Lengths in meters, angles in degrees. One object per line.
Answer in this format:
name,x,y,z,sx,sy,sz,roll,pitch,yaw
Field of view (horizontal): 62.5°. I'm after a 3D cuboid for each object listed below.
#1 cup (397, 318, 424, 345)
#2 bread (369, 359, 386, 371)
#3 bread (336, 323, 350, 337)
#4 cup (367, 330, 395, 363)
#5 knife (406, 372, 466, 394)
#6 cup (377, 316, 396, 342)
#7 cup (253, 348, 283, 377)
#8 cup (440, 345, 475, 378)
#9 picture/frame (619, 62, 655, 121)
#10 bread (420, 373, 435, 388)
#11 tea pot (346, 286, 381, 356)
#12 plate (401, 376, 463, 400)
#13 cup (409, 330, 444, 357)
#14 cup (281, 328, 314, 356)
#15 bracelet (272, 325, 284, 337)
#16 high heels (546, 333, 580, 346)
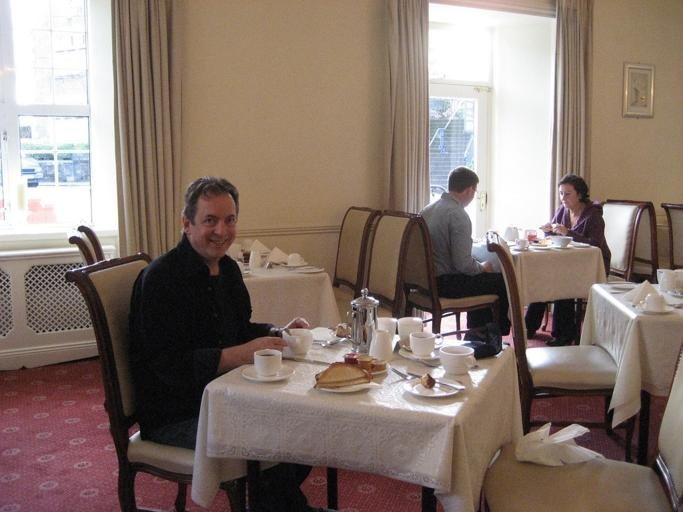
cup,0.291,0.311,2.357,0.098,0.094,0.095,-2,4,0
bread,0.132,0.408,2.095,0.042,0.018,0.037,3,9,37
bread,0.009,0.320,2.441,0.047,0.053,0.051,0,4,9
cup,0.151,0.355,2.223,0.100,0.110,0.097,0,5,0
knife,0.326,0.456,1.959,0.128,0.021,0.083,9,9,33
cup,0.186,0.305,2.322,0.070,0.079,0.085,2,6,7
cup,-0.276,0.388,2.064,0.084,0.072,0.083,0,10,0
cup,0.438,0.383,2.130,0.131,0.076,0.177,9,16,35
picture/frame,3.290,-1.864,6.302,0.587,0.820,0.059,-1,4,-26
bread,0.298,0.432,1.951,0.038,0.044,0.044,-4,-18,17
tea pot,0.084,0.277,2.270,0.153,0.322,0.209,0,0,-1
plate,0.319,0.464,1.949,0.210,0.026,0.108,2,14,13
cup,0.331,0.332,2.217,0.106,0.070,0.082,-1,-2,-38
cup,-0.176,0.339,2.246,0.093,0.081,0.095,-4,4,0
bracelet,-0.286,0.338,2.508,0.050,0.030,0.041,1,7,8
high heels,1.839,0.695,4.708,0.271,0.133,0.098,0,-3,17
